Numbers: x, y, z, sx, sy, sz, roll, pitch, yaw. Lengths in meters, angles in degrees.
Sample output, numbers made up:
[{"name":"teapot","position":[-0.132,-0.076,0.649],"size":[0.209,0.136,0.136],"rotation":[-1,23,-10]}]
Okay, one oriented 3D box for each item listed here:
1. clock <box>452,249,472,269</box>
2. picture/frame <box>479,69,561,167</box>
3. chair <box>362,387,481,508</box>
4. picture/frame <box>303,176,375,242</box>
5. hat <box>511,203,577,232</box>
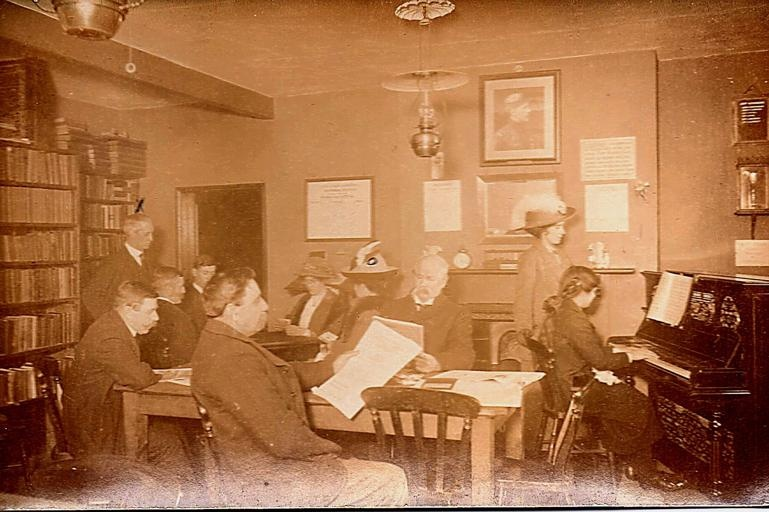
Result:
[{"name":"clock","position":[0.522,0.026,4.280],"size":[0.118,0.132,0.029],"rotation":[-2,5,3]},{"name":"picture/frame","position":[0.912,-0.928,4.273],"size":[0.521,0.613,0.056],"rotation":[-2,5,6]},{"name":"chair","position":[0.243,1.251,4.063],"size":[0.721,0.894,0.445],"rotation":[-3,5,-2]},{"name":"picture/frame","position":[-0.295,-0.317,4.382],"size":[0.891,0.430,0.052],"rotation":[0,1,5]},{"name":"hat","position":[1.070,-0.273,4.266],"size":[0.317,0.049,0.239],"rotation":[-12,2,-1]}]
